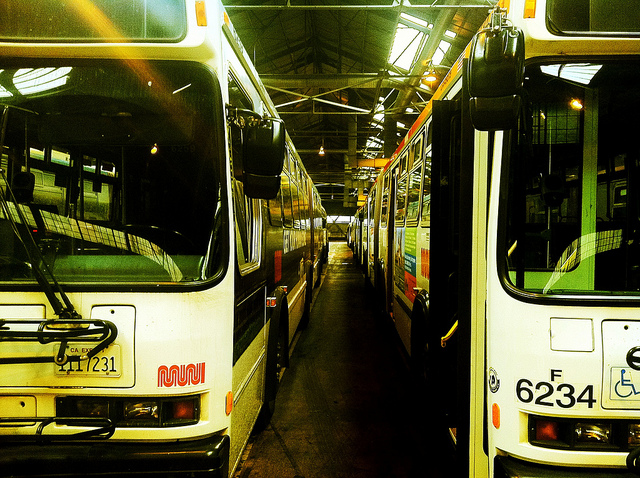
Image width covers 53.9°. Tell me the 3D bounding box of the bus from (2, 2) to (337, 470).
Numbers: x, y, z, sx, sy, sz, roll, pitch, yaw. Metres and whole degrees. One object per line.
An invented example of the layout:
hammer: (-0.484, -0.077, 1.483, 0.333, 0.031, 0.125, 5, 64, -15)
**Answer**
bus: (-1.199, -0.020, 4.407, 1.885, 3.186, 1.258, -2, 6, -20)

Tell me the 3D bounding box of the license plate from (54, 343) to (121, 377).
license plate: (-1.488, 0.777, 4.050, 0.423, 0.221, 0.033, 0, 5, -2)
